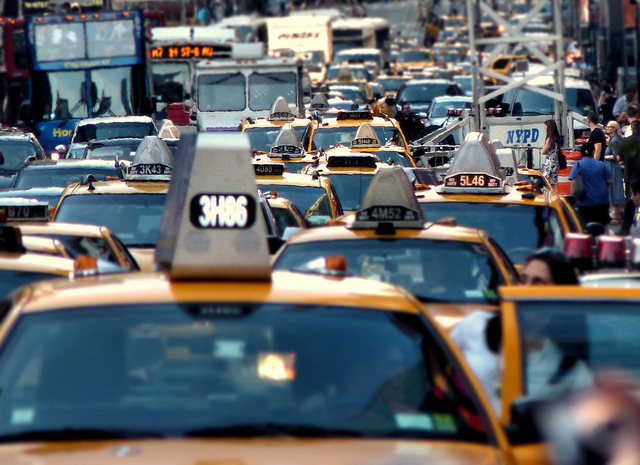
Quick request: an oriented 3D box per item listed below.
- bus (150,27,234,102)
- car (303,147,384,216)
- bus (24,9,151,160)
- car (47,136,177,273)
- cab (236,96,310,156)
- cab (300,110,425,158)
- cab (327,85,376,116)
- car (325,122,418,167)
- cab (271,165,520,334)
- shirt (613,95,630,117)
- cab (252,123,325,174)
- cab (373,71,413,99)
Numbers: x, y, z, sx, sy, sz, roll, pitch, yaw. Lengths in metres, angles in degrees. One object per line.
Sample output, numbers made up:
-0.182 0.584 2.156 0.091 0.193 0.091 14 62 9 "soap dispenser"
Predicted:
-4.262 -5.745 32.929 2.013 2.487 5.299 0 3 2 "bus"
0.269 -0.613 12.514 0.941 0.702 1.976 0 4 -1 "car"
-6.380 -4.348 28.063 3.254 4.767 1.850 -5 15 -12 "bus"
-2.141 -0.283 10.592 1.206 0.979 2.035 -1 -3 1 "car"
-0.876 -2.129 20.732 1.385 1.087 2.343 0 4 1 "cab"
0.862 -1.769 19.796 2.050 1.099 2.318 0 9 4 "cab"
1.075 -3.947 31.966 1.144 0.782 2.488 1 13 3 "cab"
0.803 -1.459 16.950 0.989 0.734 1.576 2 16 5 "car"
0.694 0.122 7.474 1.150 1.055 2.232 -1 11 5 "cab"
7.516 -3.144 25.594 0.294 0.525 1.347 5 9 14 "shirt"
-0.464 -1.351 16.500 1.435 0.681 1.949 -1 7 0 "cab"
2.914 -6.051 41.636 1.479 1.126 2.959 0 2 1 "cab"
